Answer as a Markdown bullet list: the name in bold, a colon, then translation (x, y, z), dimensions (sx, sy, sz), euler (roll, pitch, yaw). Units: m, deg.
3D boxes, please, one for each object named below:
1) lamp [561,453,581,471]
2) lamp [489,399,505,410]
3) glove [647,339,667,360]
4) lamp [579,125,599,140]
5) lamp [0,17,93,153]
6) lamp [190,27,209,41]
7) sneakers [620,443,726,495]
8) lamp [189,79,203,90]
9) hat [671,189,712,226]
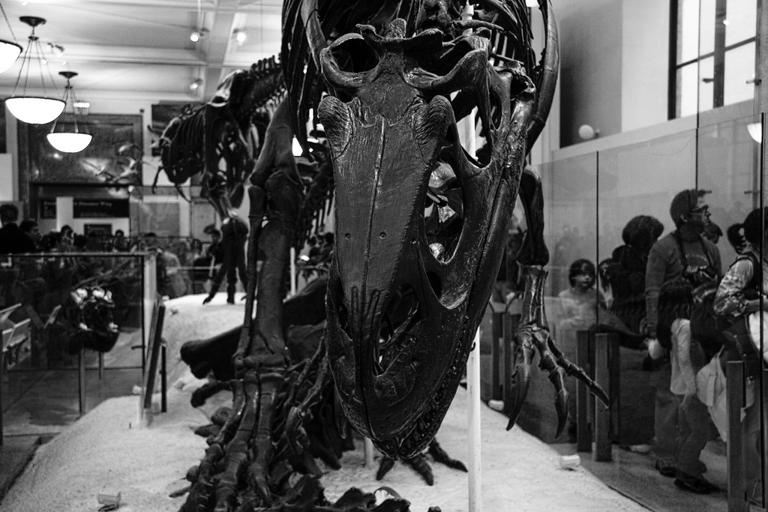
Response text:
- **lamp**: translation (1.676, 1.868, 7.175), dimensions (0.151, 0.128, 0.116), euler (0, -11, -20)
- **lamp**: translation (1.217, 1.628, 8.735), dimensions (0.158, 0.109, 0.393), euler (1, 1, 2)
- **glove**: translation (2.267, 0.787, 6.675), dimensions (0.059, 0.169, 0.114), euler (6, -7, -33)
- **lamp**: translation (2.380, -1.435, 9.268), dimensions (0.193, 0.165, 0.155), euler (3, -20, -32)
- **lamp**: translation (-4.313, -2.194, 10.269), dimensions (0.967, 1.718, 1.219), euler (0, 2, -26)
- **lamp**: translation (-2.467, -2.927, 10.596), dimensions (0.069, 0.167, 0.208), euler (4, -3, -43)
- **sneakers**: translation (2.358, 1.754, 6.551), dimensions (0.187, 0.277, 0.645), euler (1, -5, -16)
- **lamp**: translation (-2.595, -2.369, 11.029), dimensions (0.146, 0.154, 0.043), euler (12, -7, -5)
- **hat**: translation (2.491, -0.373, 6.484), dimensions (0.320, 0.328, 0.252), euler (2, -10, 37)
